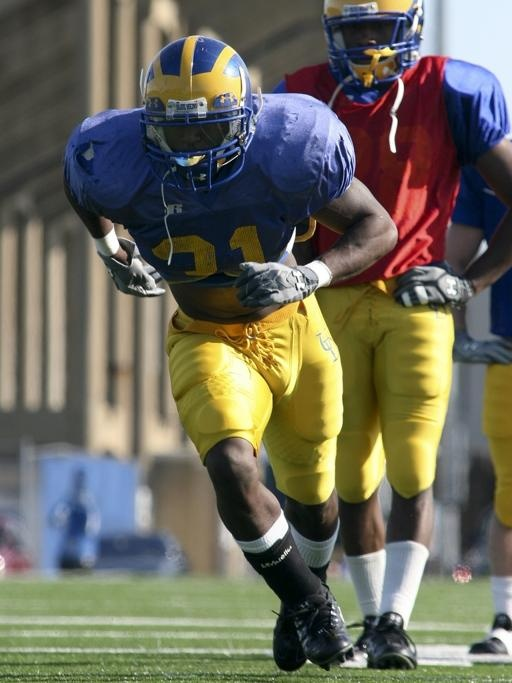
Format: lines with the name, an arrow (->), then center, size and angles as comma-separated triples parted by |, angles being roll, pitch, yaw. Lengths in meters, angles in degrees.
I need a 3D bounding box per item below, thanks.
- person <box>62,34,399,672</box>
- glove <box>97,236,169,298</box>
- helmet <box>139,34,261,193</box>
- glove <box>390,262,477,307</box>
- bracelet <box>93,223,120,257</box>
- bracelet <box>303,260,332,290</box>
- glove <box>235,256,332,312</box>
person -> -0.039, 0.042, 3.751 | 0.899, 1.698, 0.765 | -3, -2, 5
glove -> -0.350, -0.223, 4.115 | 0.107, 0.137, 0.303 | -38, -14, 7
helmet -> -0.086, -0.585, 3.556 | 0.389, 0.392, 0.353 | 1, -38, 7
glove -> 0.562, -0.175, 4.210 | 0.249, 0.127, 0.126 | -2, -2, 4
bracelet -> -0.427, -0.303, 3.926 | 0.083, 0.079, 0.091 | 6, -5, 3
bracelet -> 0.171, -0.175, 3.474 | 0.078, 0.059, 0.079 | 14, 17, 39
glove -> 0.065, -0.152, 3.455 | 0.193, 0.120, 0.080 | -29, -2, -3
